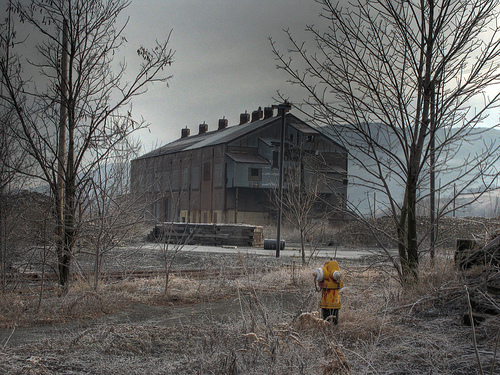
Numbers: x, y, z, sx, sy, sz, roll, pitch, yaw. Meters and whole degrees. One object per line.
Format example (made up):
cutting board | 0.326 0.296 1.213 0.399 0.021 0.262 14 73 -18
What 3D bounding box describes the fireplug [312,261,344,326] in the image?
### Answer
fireplug | 1.435 1.925 9.985 0.520 1.189 1.014 -3 -11 9
